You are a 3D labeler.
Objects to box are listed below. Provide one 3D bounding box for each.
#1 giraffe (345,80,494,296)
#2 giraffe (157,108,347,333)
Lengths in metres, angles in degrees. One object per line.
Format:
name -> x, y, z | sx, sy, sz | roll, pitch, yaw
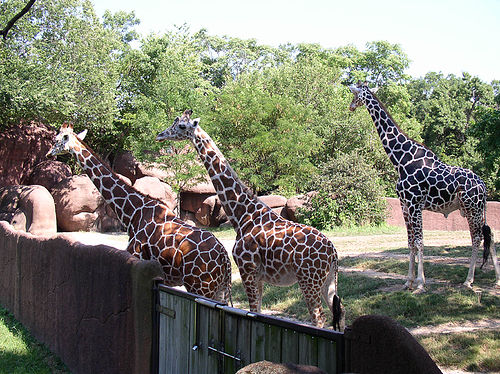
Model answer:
giraffe -> 4.000, -0.072, 11.704 | 3.012, 4.563, 1.297 | 3, 4, 28
giraffe -> 0.152, 0.498, 8.803 | 2.701, 3.351, 0.922 | 4, 5, 39
